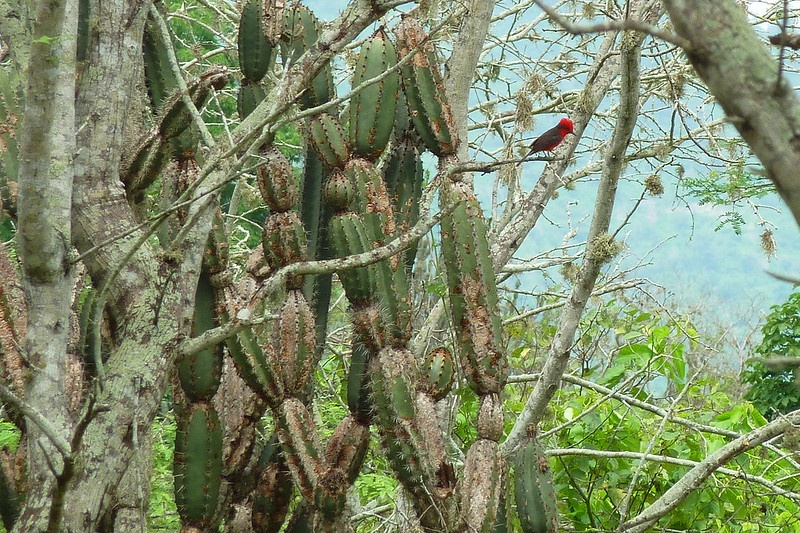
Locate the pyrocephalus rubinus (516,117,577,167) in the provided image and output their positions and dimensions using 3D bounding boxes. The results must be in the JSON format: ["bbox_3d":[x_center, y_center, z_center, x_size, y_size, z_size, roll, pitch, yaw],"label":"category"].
[{"bbox_3d":[1.122,-1.000,10.134,0.458,0.277,0.157,-7,8,17],"label":"pyrocephalus rubinus"}]
